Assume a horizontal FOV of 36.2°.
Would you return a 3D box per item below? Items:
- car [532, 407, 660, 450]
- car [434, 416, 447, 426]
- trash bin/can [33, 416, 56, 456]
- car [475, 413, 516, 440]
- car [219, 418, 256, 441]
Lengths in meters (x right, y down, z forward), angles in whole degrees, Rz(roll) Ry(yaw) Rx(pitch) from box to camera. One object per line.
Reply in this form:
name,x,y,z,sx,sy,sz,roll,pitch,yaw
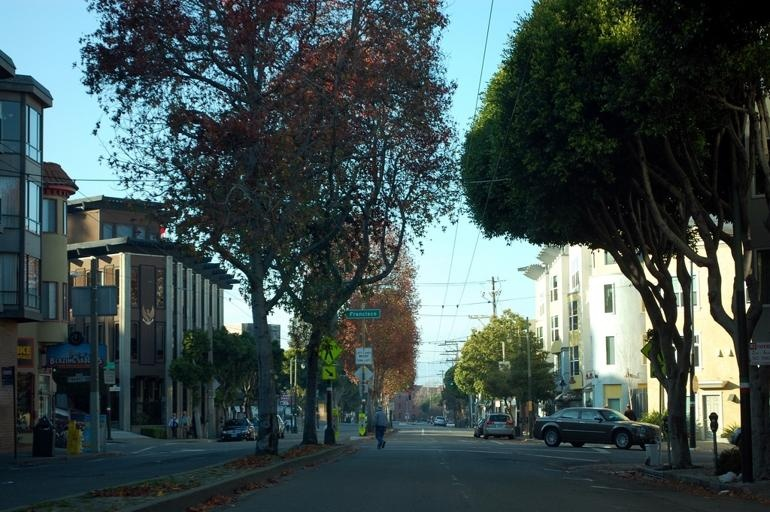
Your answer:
car,10.332,8.408,58.290,6.379,2.378,0.820,-15,-17,39
car,7.766,23.107,167.306,1.039,1.284,2.414,0,-16,4
trash bin/can,-14.475,7.590,49.899,0.795,1.625,0.781,2,-11,-18
car,7.073,10.975,76.438,2.872,1.906,2.655,-7,-14,19
car,-9.308,10.780,74.187,2.044,1.373,1.235,6,-15,-32
